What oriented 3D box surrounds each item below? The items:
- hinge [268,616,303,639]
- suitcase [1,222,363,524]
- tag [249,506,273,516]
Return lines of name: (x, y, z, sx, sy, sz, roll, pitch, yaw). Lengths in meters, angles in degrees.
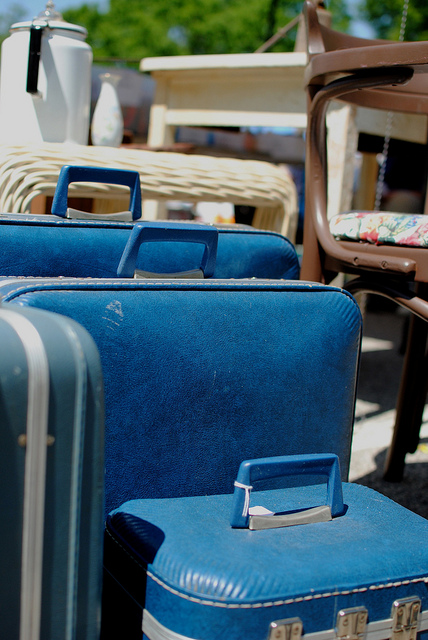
hinge: (0.053, 0.233, 0.528, 0.026, 0.019, 0.009, -3, 8, -34)
suitcase: (-0.032, 0.053, 0.649, 0.384, 0.295, 0.195, -2, 9, -32)
tag: (0.041, 0.171, 0.622, 0.014, 0.003, 0.012, 1, 5, -28)
